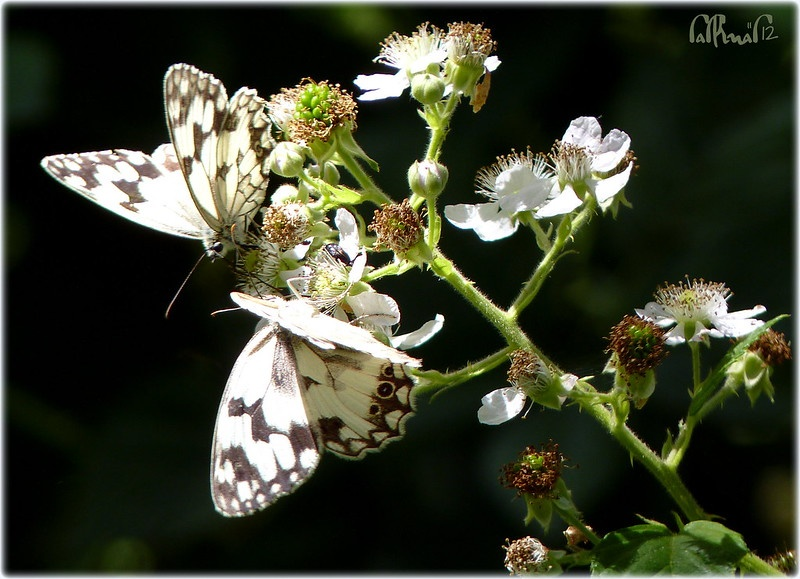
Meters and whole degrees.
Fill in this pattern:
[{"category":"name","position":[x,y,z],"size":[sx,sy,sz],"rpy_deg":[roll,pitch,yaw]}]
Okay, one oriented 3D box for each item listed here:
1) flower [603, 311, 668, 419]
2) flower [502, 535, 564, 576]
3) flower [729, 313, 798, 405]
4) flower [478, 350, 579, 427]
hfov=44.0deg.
[{"category":"flower","position":[1.171,0.368,4.878],"size":[0.327,0.434,0.318],"rpy_deg":[-5,9,6]},{"category":"flower","position":[0.673,1.356,5.034],"size":[0.288,0.172,0.136],"rpy_deg":[-5,9,8]},{"category":"flower","position":[1.823,0.346,5.023],"size":[0.169,0.429,0.427],"rpy_deg":[-10,38,28]},{"category":"flower","position":[0.620,0.500,4.989],"size":[0.392,0.446,0.203],"rpy_deg":[24,-2,-9]}]
